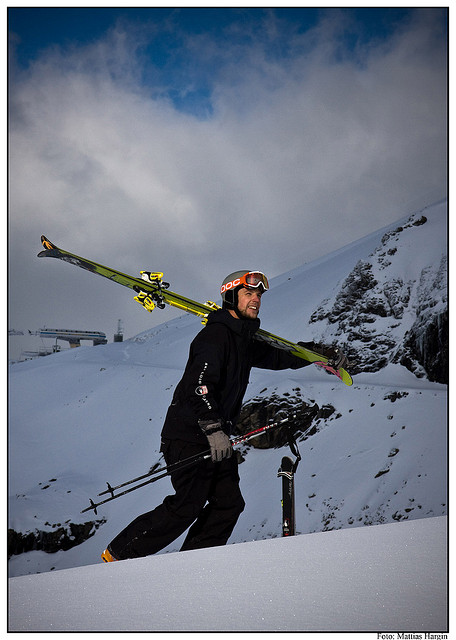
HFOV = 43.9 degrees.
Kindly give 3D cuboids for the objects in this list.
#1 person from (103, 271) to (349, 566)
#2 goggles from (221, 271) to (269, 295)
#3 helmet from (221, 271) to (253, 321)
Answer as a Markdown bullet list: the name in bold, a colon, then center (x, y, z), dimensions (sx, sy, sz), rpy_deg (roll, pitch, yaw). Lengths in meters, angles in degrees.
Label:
- **person**: center (-0.113, 0.465, 3.151), dimensions (0.561, 1.458, 1.357), rpy_deg (1, 6, 28)
- **goggles**: center (0.085, -0.210, 3.164), dimensions (0.264, 0.122, 0.147), rpy_deg (-1, 5, 5)
- **helmet**: center (0.048, -0.149, 3.236), dimensions (0.137, 0.284, 0.134), rpy_deg (-6, 11, -42)
